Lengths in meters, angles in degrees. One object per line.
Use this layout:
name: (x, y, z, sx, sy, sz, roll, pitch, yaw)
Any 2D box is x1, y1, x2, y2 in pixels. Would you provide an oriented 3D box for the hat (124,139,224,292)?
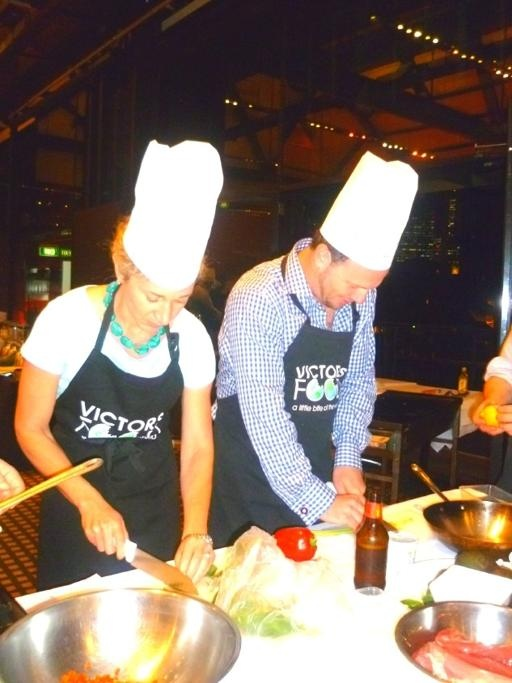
hat: (-0.186, -0.285, 1.451, 0.213, 0.343, 0.195, 4, 5, -19)

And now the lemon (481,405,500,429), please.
lemon: (0.727, 0.231, 1.971, 0.039, 0.057, 0.046, -8, -28, 20)

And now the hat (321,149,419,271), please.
hat: (0.316, -0.365, 1.750, 0.253, 0.351, 0.209, 6, 5, -3)

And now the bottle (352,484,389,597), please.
bottle: (0.245, 0.405, 1.318, 0.072, 0.219, 0.083, 7, 5, 13)

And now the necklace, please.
necklace: (-0.305, -0.040, 1.590, 0.157, 0.191, 0.044, 32, 56, 13)
